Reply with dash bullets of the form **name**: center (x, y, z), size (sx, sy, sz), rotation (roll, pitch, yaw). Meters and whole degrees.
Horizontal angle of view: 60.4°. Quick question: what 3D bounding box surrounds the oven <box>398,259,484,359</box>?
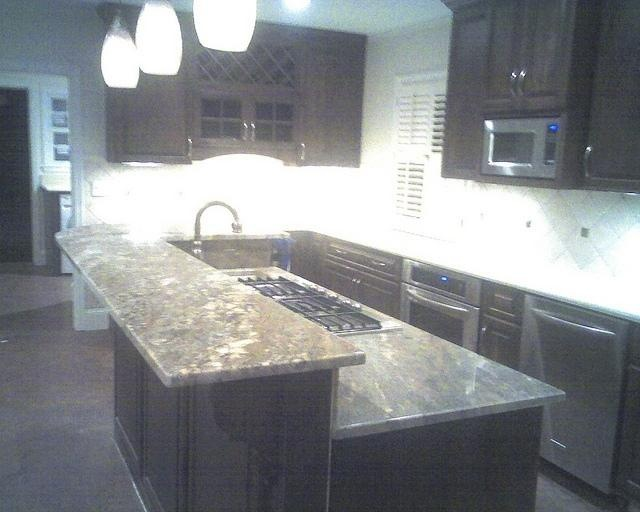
- **oven**: center (0.775, 0.318, 3.671), size (0.503, 0.736, 0.529), rotation (-1, 8, -27)

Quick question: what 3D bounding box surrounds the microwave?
- **microwave**: center (1.302, -0.660, 3.377), size (0.304, 0.370, 0.557), rotation (-8, 14, -33)

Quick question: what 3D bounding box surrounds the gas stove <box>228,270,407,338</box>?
- **gas stove**: center (-0.089, 0.189, 2.595), size (0.389, 0.060, 1.051), rotation (-5, 13, -32)

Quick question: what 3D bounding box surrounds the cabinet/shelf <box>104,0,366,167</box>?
- **cabinet/shelf**: center (-0.645, -1.439, 4.901), size (2.310, 1.242, 0.377), rotation (-4, 13, -30)
